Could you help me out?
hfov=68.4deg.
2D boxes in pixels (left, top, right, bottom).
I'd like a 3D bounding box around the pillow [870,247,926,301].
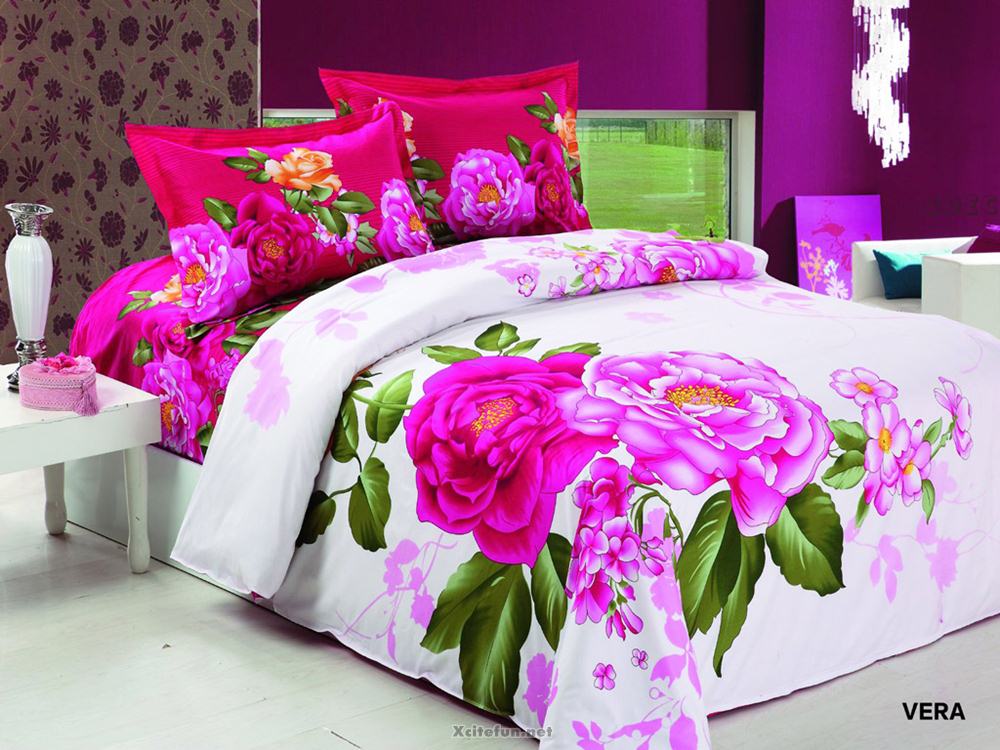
[{"bbox_3d":[2.168,-0.549,4.042,0.240,0.268,0.079,-3,-5,-1],"label":"pillow"}]
